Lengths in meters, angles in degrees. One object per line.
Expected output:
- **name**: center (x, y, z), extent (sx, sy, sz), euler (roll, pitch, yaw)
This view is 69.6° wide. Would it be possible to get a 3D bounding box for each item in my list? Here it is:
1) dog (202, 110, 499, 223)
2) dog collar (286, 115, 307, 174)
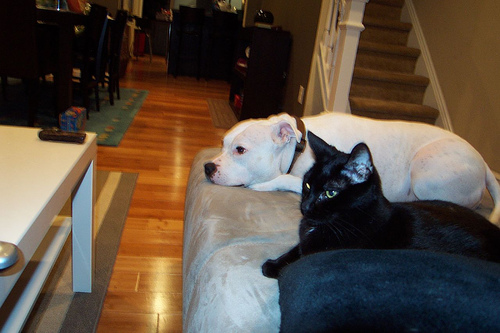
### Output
- **dog**: center (0.432, -0.060, 1.537), extent (0.965, 0.305, 0.567), euler (6, 0, 4)
- **dog collar**: center (0.206, -0.115, 1.565), extent (0.045, 0.178, 0.127), euler (2, 15, -35)
